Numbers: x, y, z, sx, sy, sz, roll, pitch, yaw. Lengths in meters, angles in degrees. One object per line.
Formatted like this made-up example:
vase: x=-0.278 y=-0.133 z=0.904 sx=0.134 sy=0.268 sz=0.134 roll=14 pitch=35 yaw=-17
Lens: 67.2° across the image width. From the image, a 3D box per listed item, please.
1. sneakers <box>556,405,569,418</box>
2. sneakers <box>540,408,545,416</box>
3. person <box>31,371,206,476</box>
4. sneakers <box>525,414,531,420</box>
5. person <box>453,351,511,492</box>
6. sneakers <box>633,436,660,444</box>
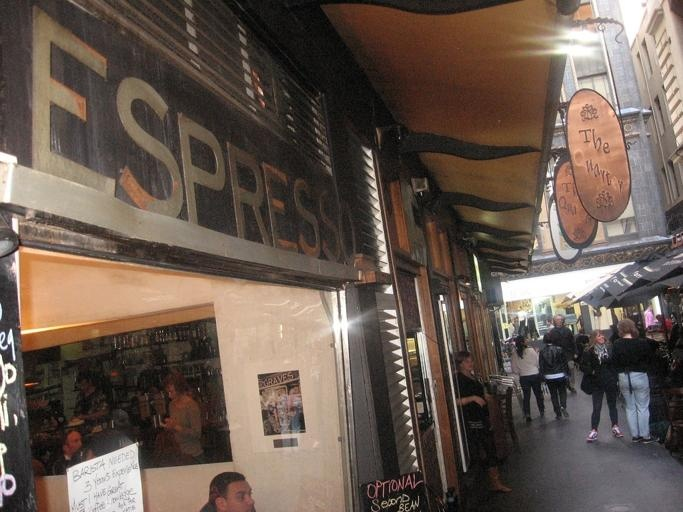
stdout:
sneakers: x=4.292 y=3.150 z=10.061 sx=0.121 sy=0.367 sz=0.148 roll=-12 pitch=8 yaw=7
sneakers: x=4.009 y=3.179 z=10.338 sx=0.068 sy=0.101 sz=0.218 roll=-4 pitch=-29 yaw=11
person: x=-1.270 y=0.990 z=3.019 sx=0.379 sy=0.621 sz=0.962 roll=-14 pitch=-15 yaw=41
sneakers: x=3.707 y=3.234 z=10.247 sx=0.085 sy=0.156 sz=0.102 roll=-1 pitch=-10 yaw=14
person: x=1.745 y=2.067 z=6.555 sx=0.490 sy=1.672 sz=0.869 roll=-7 pitch=-11 yaw=12
sneakers: x=4.434 y=2.714 z=7.549 sx=0.362 sy=0.155 sz=0.126 roll=0 pitch=-9 yaw=6
